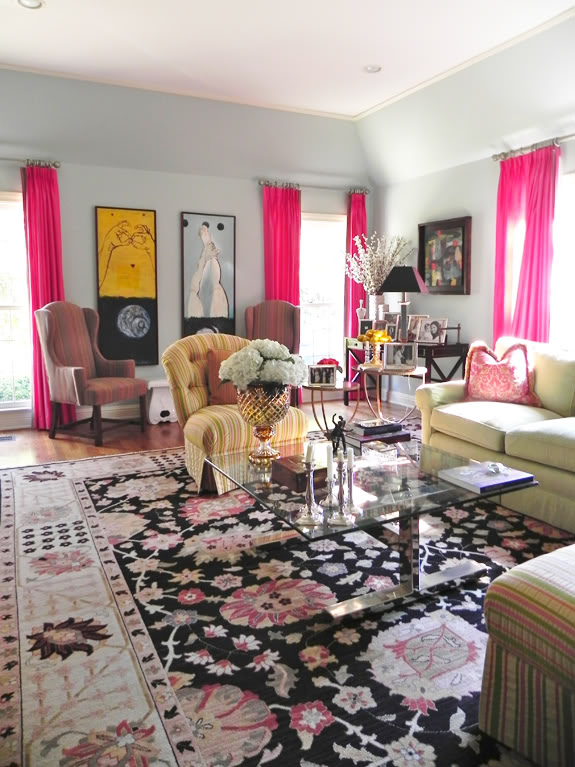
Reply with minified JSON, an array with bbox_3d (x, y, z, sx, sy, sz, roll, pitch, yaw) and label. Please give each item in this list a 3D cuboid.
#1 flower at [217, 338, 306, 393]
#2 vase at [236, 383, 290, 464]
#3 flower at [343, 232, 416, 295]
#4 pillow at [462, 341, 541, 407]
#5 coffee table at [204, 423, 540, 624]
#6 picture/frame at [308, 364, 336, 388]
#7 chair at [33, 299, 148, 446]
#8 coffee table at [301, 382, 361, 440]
[{"bbox_3d":[-0.076,-0.070,2.735,0.316,0.220,0.368,4,0,36],"label":"flower"},{"bbox_3d":[-0.134,0.199,2.758,0.242,0.346,0.219,-5,2,7],"label":"vase"},{"bbox_3d":[0.951,-1.332,6.497,0.854,0.943,0.854,1,6,19],"label":"flower"},{"bbox_3d":[1.399,-0.049,3.744,0.404,0.372,0.169,-4,-13,40],"label":"pillow"},{"bbox_3d":[0.342,0.407,2.151,0.763,0.322,0.915,-5,9,-25],"label":"coffee table"},{"bbox_3d":[0.214,-0.043,3.508,0.143,0.104,0.019,0,4,2],"label":"picture/frame"},{"bbox_3d":[-1.611,-0.117,4.837,0.885,1.063,0.845,0,9,-14],"label":"chair"},{"bbox_3d":[0.285,0.176,3.871,0.299,0.316,0.304,-12,3,43],"label":"coffee table"}]
